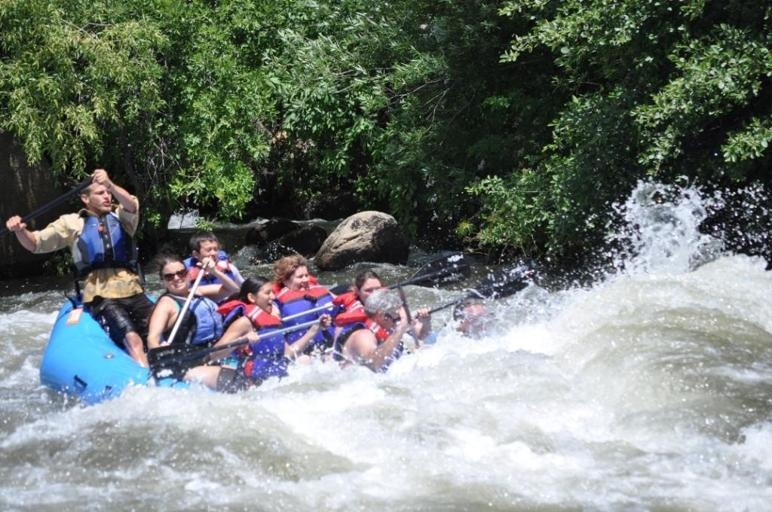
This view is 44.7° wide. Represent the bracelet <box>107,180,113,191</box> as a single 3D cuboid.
[{"bbox_3d":[-3.387,-0.842,11.542,0.086,0.085,0.022,-3,-4,43],"label":"bracelet"}]

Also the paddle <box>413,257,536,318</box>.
[{"bbox_3d":[1.193,0.464,12.708,1.832,0.335,0.207,-24,2,-31],"label":"paddle"}]
